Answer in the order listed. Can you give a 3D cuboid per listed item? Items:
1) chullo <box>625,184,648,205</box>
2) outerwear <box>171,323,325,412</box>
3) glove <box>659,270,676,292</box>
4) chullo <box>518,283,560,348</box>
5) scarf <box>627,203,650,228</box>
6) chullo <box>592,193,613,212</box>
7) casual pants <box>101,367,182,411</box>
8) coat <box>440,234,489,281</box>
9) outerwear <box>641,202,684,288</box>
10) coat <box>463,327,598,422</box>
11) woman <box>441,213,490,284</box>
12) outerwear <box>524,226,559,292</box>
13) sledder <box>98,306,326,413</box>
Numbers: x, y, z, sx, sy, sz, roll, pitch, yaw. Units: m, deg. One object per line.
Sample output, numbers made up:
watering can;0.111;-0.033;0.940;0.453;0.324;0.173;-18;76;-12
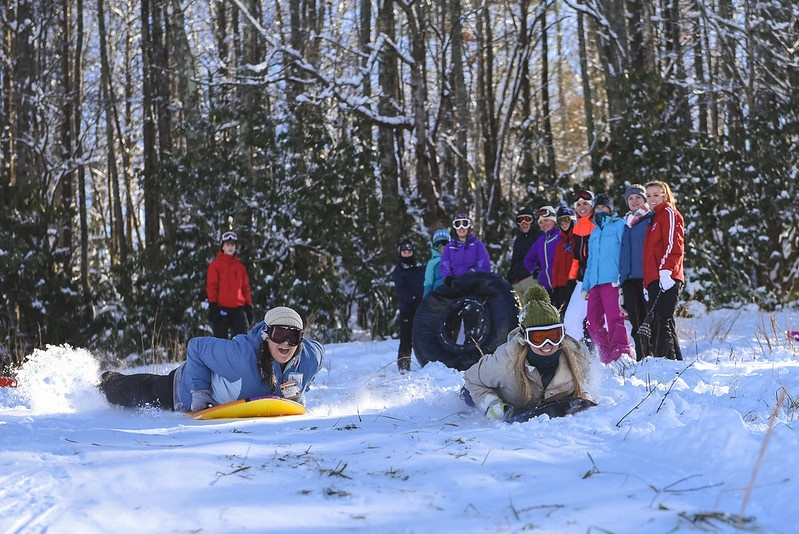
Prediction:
chullo;4.257;-1.296;19.689;0.264;0.328;0.367;-11;-5;12
outerwear;-2.782;1.776;18.317;1.838;0.889;1.530;-26;-29;38
glove;4.617;0.251;18.941;0.281;0.317;0.109;-8;-12;13
chullo;2.252;0.863;17.716;0.599;0.984;0.539;-3;-40;-4
scarf;4.256;-0.938;19.533;0.344;0.428;0.215;30;-3;14
chullo;3.753;-1.181;20.155;0.260;0.347;0.345;3;16;20
casual pants;-4.474;2.117;18.742;0.944;0.435;0.705;4;11;17
coat;1.249;-0.124;21.473;1.041;1.131;0.757;-2;-10;7
outerwear;4.592;-0.353;19.127;0.669;1.759;1.185;3;-8;-8
coat;2.008;1.333;17.645;1.964;1.387;1.735;-10;-40;-7
woman;1.232;-0.252;21.199;0.963;1.534;0.842;-4;-2;12
outerwear;2.713;-0.158;20.774;0.381;0.937;0.993;-5;-10;-39
sledder;-2.988;1.591;18.818;3.185;1.459;1.623;-3;-5;20
